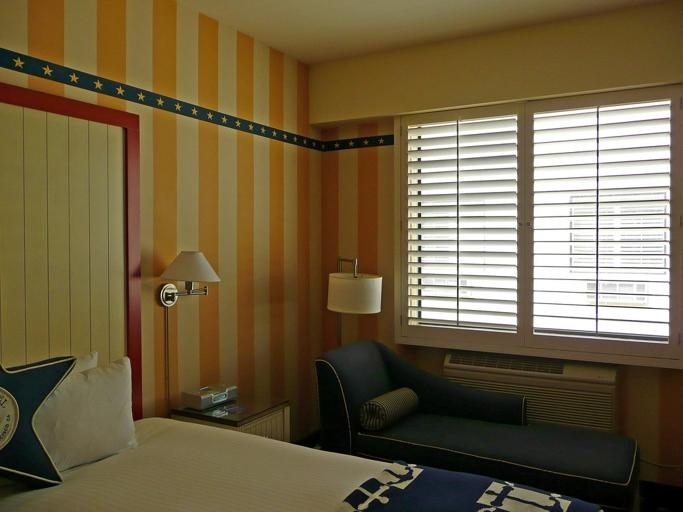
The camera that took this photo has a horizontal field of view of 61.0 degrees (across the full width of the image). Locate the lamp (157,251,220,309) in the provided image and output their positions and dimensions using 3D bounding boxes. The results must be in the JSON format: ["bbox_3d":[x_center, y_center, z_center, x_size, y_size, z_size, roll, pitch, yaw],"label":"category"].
[{"bbox_3d":[-0.955,0.127,3.645,0.336,0.358,0.362,1,0,17],"label":"lamp"}]

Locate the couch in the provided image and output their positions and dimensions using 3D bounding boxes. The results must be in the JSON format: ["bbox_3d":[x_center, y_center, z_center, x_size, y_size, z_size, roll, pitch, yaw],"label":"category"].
[{"bbox_3d":[0.874,0.842,3.688,1.644,0.982,0.856,-1,1,30],"label":"couch"}]
